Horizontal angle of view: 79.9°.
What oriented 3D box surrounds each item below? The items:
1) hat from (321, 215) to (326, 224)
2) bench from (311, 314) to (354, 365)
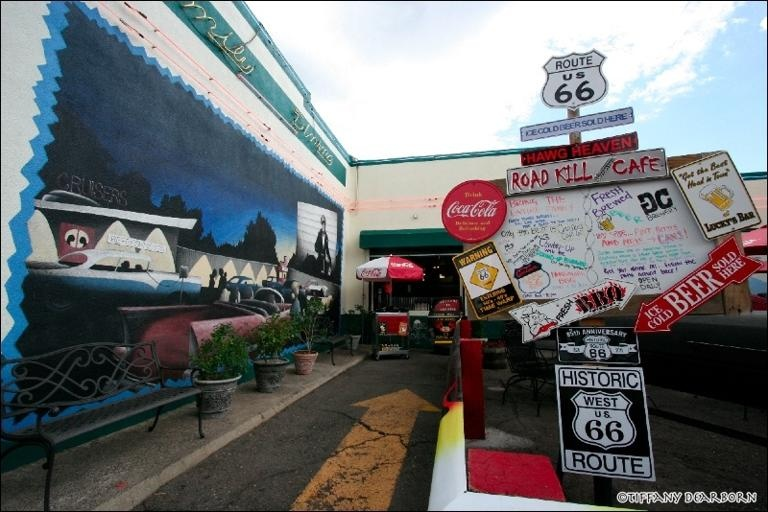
[{"bbox_3d":[-1.750,-1.033,13.026,0.078,0.221,0.082,-2,-1,-8],"label":"hat"},{"bbox_3d":[-1.326,2.513,13.295,0.548,0.866,1.388,16,-28,-7],"label":"bench"}]
